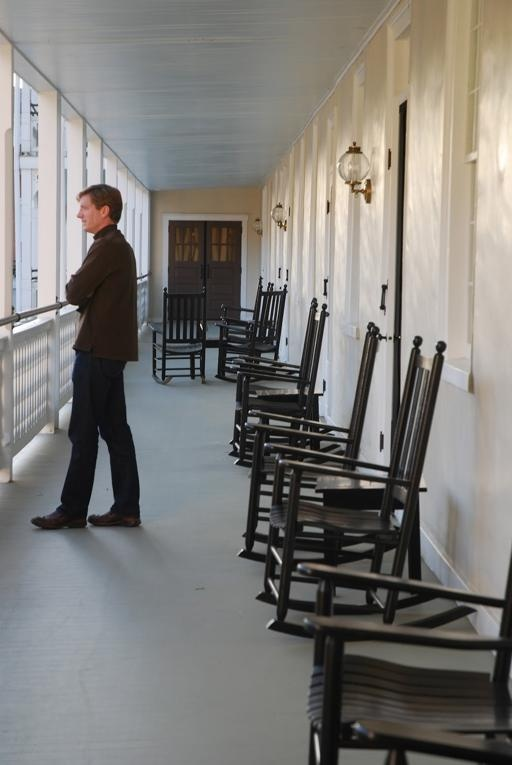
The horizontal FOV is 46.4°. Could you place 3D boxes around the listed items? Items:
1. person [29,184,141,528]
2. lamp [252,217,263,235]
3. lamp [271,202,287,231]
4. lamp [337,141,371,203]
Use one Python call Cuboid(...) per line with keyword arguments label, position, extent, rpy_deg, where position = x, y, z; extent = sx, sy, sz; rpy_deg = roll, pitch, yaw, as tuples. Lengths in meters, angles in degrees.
Cuboid(label="person", position=(-0.869, -0.147, 3.223), extent=(0.492, 1.891, 0.317), rpy_deg=(0, 4, -19))
Cuboid(label="lamp", position=(0.030, -4.322, 16.285), extent=(0.236, 0.477, 0.606), rpy_deg=(1, 4, 1))
Cuboid(label="lamp", position=(0.408, -3.011, 10.765), extent=(0.253, 0.574, 0.596), rpy_deg=(1, 4, 1))
Cuboid(label="lamp", position=(0.762, -1.584, 4.553), extent=(0.259, 0.422, 0.237), rpy_deg=(-1, 4, -24))
